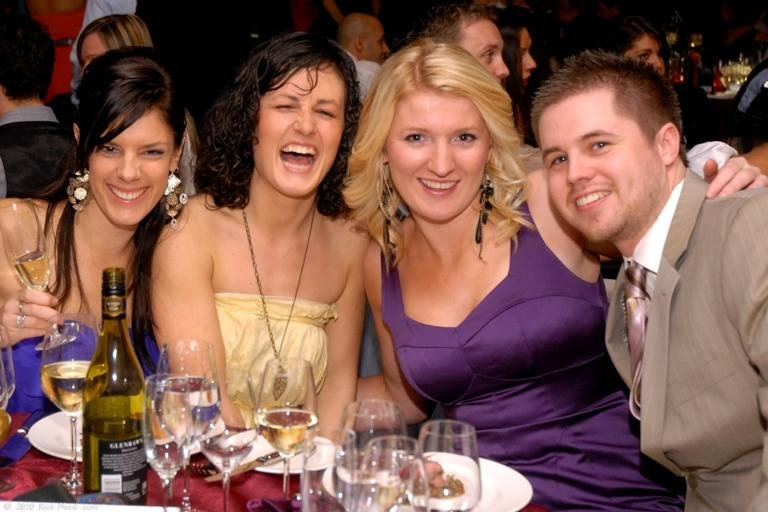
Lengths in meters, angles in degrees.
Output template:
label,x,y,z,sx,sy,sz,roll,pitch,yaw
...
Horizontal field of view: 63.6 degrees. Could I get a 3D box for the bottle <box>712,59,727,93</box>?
label,x,y,z,sx,sy,sz,roll,pitch,yaw
bottle,3.222,-1.744,5.979,0.122,0.359,0.216,0,0,12
